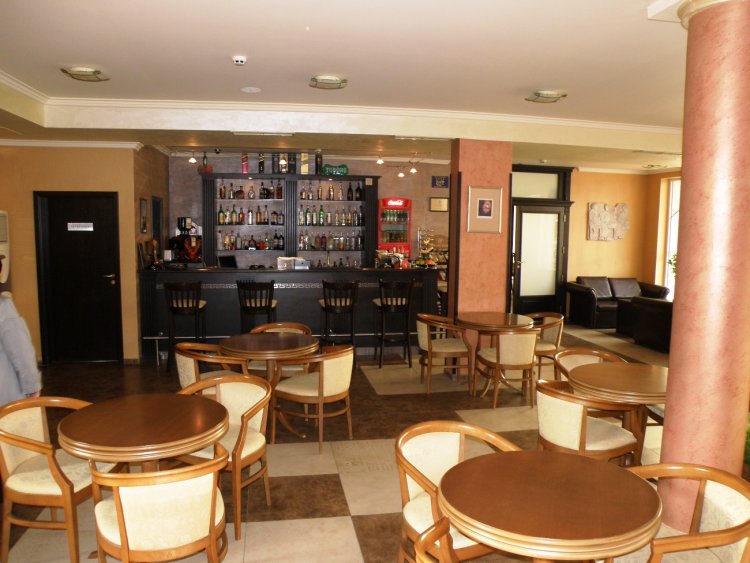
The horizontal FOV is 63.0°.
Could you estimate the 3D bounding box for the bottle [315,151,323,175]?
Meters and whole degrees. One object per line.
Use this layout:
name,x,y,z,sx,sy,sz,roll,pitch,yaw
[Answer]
bottle,-0.971,-2.092,10.578,0.155,0.389,0.422,-1,12,-5

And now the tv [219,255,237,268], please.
tv,-2.199,-0.330,9.170,0.258,0.216,0.125,4,26,3

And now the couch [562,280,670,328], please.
couch,4.331,0.296,11.468,1.817,0.930,0.918,-1,1,-8

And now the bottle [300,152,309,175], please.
bottle,-1.223,-2.150,10.743,0.149,0.341,0.237,-2,13,-7

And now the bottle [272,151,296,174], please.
bottle,-1.571,-2.105,10.553,0.394,0.324,0.195,1,15,1

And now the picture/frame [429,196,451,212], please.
picture/frame,1.258,-1.576,12.124,0.414,0.328,0.099,0,1,-3
